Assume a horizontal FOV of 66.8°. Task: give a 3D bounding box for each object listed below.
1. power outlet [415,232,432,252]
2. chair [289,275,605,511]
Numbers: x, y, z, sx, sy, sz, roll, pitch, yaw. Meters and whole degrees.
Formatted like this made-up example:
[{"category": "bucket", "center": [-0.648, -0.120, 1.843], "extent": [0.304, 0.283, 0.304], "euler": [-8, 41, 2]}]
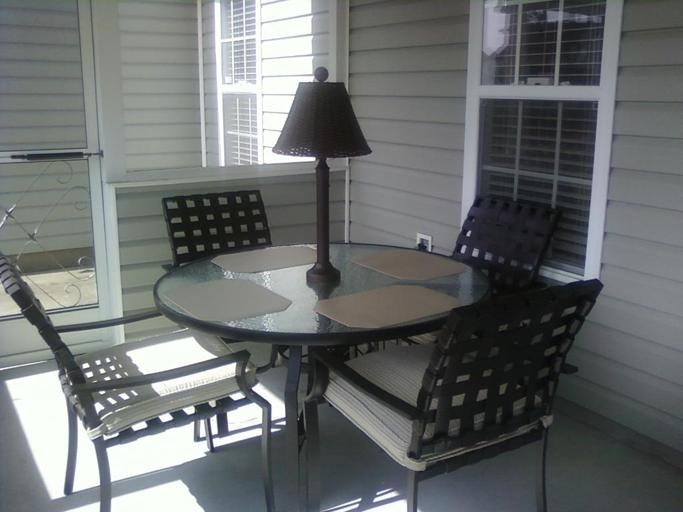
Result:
[{"category": "power outlet", "center": [0.539, -0.092, 3.359], "extent": [0.069, 0.124, 0.127], "euler": [-11, 20, -33]}, {"category": "chair", "center": [0.374, 0.550, 1.983], "extent": [0.623, 0.912, 0.675], "euler": [-14, 32, -26]}]
